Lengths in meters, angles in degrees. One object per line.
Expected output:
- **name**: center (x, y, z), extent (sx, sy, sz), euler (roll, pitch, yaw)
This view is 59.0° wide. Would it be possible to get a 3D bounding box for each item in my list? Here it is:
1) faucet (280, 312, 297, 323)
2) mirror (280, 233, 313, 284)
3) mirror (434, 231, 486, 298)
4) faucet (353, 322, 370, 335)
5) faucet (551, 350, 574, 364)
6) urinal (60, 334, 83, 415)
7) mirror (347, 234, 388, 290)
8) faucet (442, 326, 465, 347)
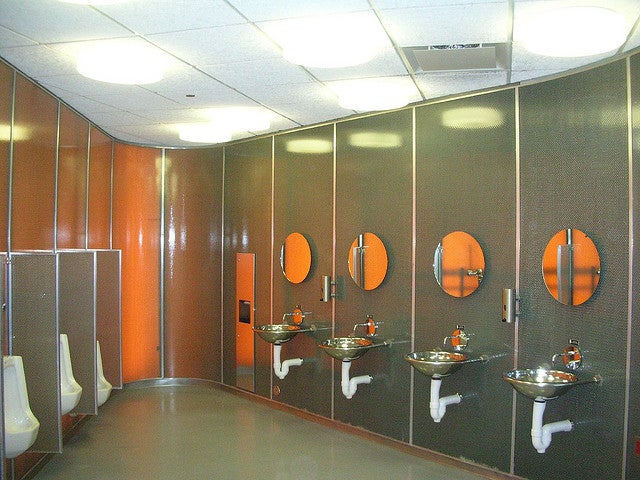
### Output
- **faucet**: center (-0.372, 0.893, 6.496), extent (0.158, 0.142, 0.088), euler (-1, 4, -14)
- **mirror**: center (-0.274, 0.218, 6.397), extent (0.438, 0.582, 0.085), euler (4, 6, 43)
- **mirror**: center (1.272, 0.224, 5.078), extent (0.560, 0.635, 0.028), euler (11, 9, 38)
- **faucet**: center (0.415, 0.922, 5.826), extent (0.156, 0.143, 0.088), euler (-3, 4, -14)
- **faucet**: center (1.932, 0.941, 4.495), extent (0.168, 0.128, 0.191), euler (2, 4, 22)
- **urinal**: center (-2.254, 1.238, 5.101), extent (0.168, 0.727, 0.330), euler (-2, 5, -23)
- **mirror**: center (0.494, 0.221, 5.719), extent (0.059, 0.557, 0.509), euler (-4, 14, -43)
- **faucet**: center (1.233, 0.879, 5.155), extent (0.214, 0.185, 0.134), euler (-1, -4, 28)
